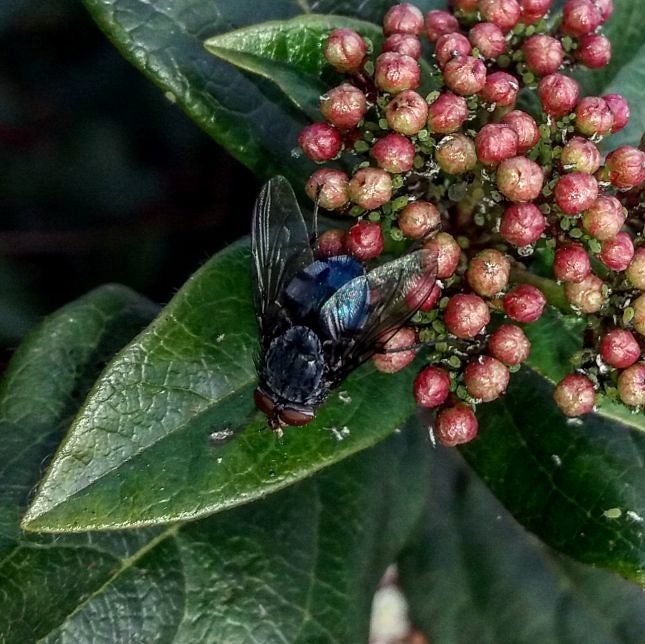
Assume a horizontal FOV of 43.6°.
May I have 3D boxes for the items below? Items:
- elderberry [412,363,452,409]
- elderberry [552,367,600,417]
[{"bbox_3d":[0.246,0.145,1.817,0.088,0.081,0.084,19,64,-21],"label":"elderberry"},{"bbox_3d":[0.547,0.160,1.729,0.112,0.037,0.082,15,91,29],"label":"elderberry"}]
